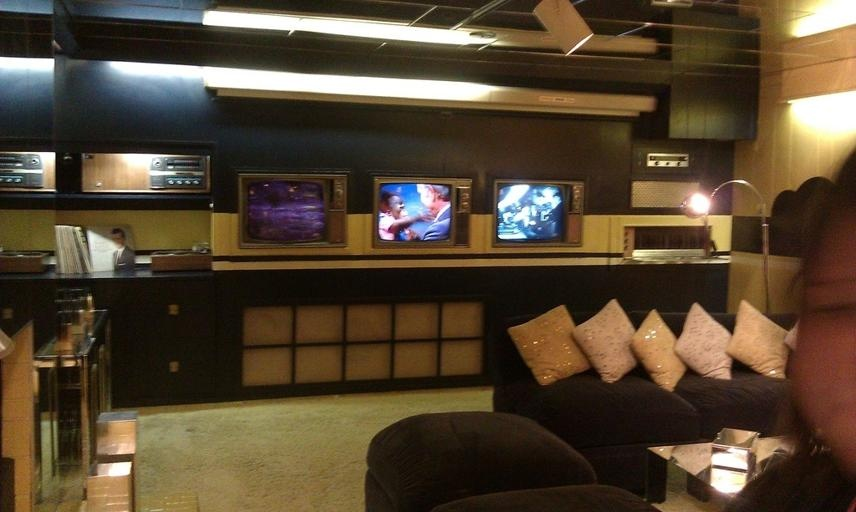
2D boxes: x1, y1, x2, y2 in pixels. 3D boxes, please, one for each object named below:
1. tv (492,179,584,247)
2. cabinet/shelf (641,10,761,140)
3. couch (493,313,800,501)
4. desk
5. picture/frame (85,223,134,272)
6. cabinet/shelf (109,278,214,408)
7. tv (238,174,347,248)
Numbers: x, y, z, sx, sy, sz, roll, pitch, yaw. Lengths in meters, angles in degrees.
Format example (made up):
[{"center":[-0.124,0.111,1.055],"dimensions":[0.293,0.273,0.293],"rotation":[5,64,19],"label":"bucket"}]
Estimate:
[{"center":[1.061,-0.410,6.632],"dimensions":[1.233,0.753,0.621],"rotation":[0,1,-9],"label":"tv"},{"center":[2.159,-1.425,5.188],"dimensions":[0.737,0.913,0.525],"rotation":[-1,2,-9],"label":"cabinet/shelf"},{"center":[1.344,0.976,4.126],"dimensions":[1.685,0.631,0.708],"rotation":[0,2,-6],"label":"couch"},{"center":[-2.272,0.963,4.086],"dimensions":[0.241,0.655,1.286],"rotation":[-1,12,-12],"label":"desk"},{"center":[-2.932,-0.081,5.974],"dimensions":[0.380,0.379,0.248],"rotation":[-4,14,-26],"label":"picture/frame"},{"center":[-2.323,0.746,5.677],"dimensions":[0.818,1.085,0.247],"rotation":[-3,14,-24],"label":"cabinet/shelf"},{"center":[-1.266,-0.404,6.087],"dimensions":[1.207,0.732,0.651],"rotation":[0,0,-11],"label":"tv"}]
